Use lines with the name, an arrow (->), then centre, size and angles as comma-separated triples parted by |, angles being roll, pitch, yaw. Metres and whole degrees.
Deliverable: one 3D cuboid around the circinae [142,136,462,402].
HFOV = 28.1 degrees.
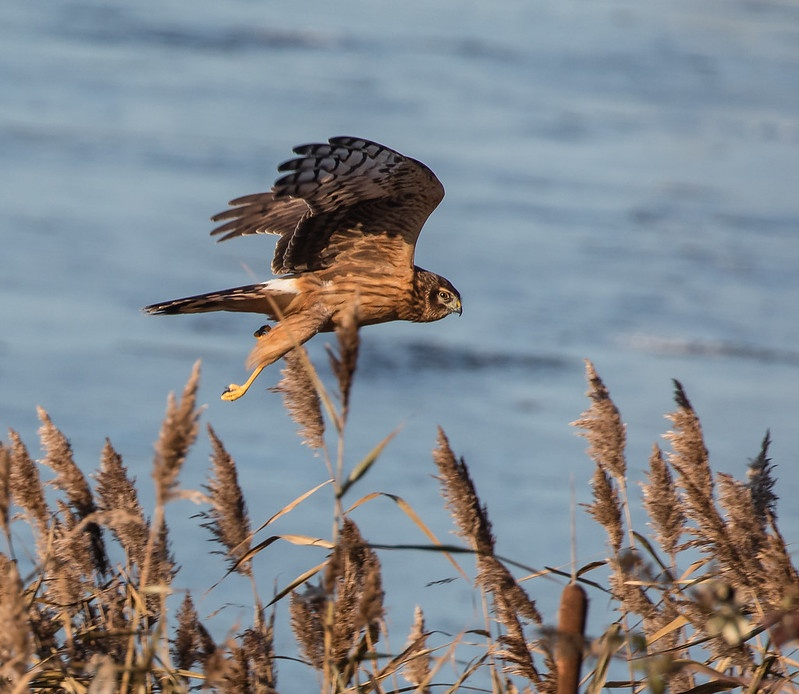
circinae -> -0.302, -0.507, 7.876 | 1.707, 0.717, 1.872 | 4, 2, -6
